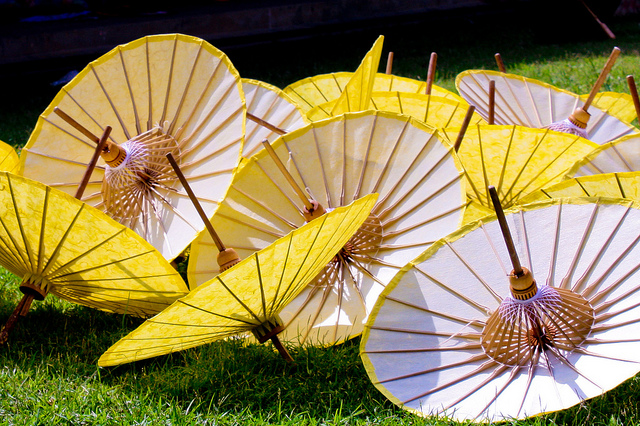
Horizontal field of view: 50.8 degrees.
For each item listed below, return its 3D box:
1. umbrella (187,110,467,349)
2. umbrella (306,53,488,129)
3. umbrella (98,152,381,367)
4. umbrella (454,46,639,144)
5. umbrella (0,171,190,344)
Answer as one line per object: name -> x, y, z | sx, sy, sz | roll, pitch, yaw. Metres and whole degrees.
umbrella -> 0.562, 0.162, 7.241 | 2.418, 2.354, 1.665 | -31, -36, 9
umbrella -> 0.872, -1.429, 7.995 | 1.385, 0.934, 1.482 | -4, 1, 19
umbrella -> -0.610, 0.608, 5.985 | 1.982, 1.318, 1.807 | 0, -31, -43
umbrella -> 2.762, -1.244, 8.166 | 1.770, 0.956, 1.519 | 13, 18, -26
umbrella -> -2.023, 0.347, 5.731 | 1.538, 1.625, 0.793 | 6, 49, 22
